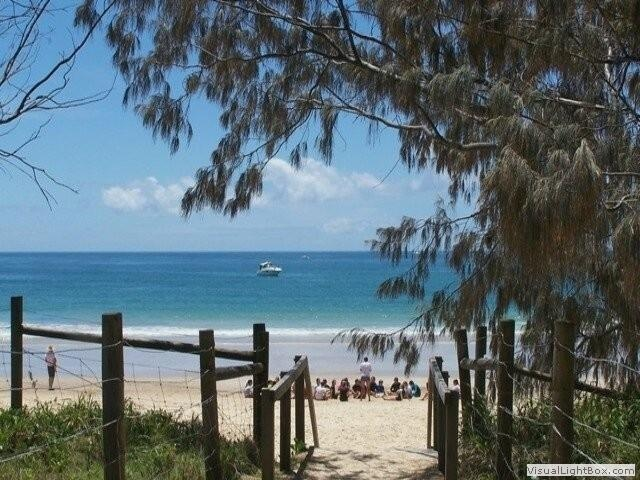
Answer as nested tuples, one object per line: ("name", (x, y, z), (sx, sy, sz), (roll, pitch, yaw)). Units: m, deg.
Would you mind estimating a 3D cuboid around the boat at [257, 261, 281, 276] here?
("boat", (-6.222, 3.523, 97.014), (2.415, 2.298, 5.829), (-1, -9, 2))
